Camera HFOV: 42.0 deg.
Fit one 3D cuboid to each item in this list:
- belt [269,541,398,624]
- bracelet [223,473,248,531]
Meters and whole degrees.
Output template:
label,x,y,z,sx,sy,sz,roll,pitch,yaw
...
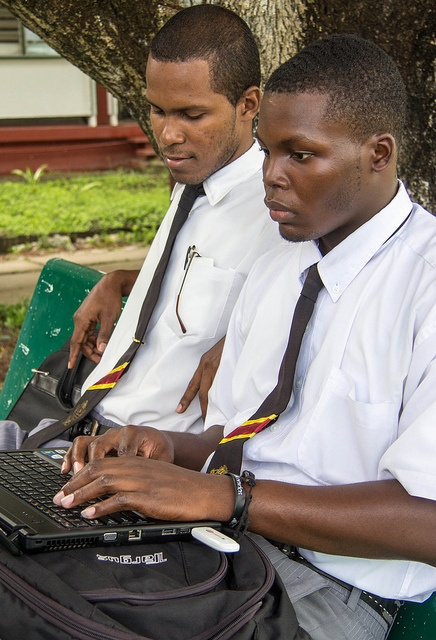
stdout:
label,x,y,z,sx,sy,sz,roll,pitch,yaw
belt,0.267,0.586,1.270,0.237,0.098,0.174,34,4,4
bracelet,0.034,0.360,1.134,0.034,0.083,0.082,6,15,-8
